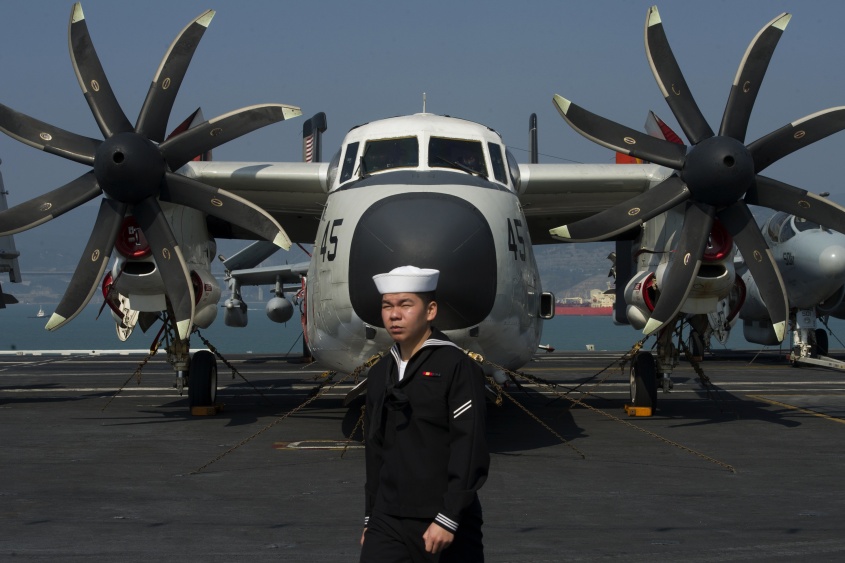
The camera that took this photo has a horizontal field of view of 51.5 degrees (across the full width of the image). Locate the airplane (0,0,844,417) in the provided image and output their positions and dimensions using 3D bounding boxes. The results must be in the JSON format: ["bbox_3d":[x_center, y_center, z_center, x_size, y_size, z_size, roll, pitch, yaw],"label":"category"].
[{"bbox_3d":[-0.033,-1.245,17.975,14.881,7.656,10.023,0,-3,-3],"label":"airplane"}]
